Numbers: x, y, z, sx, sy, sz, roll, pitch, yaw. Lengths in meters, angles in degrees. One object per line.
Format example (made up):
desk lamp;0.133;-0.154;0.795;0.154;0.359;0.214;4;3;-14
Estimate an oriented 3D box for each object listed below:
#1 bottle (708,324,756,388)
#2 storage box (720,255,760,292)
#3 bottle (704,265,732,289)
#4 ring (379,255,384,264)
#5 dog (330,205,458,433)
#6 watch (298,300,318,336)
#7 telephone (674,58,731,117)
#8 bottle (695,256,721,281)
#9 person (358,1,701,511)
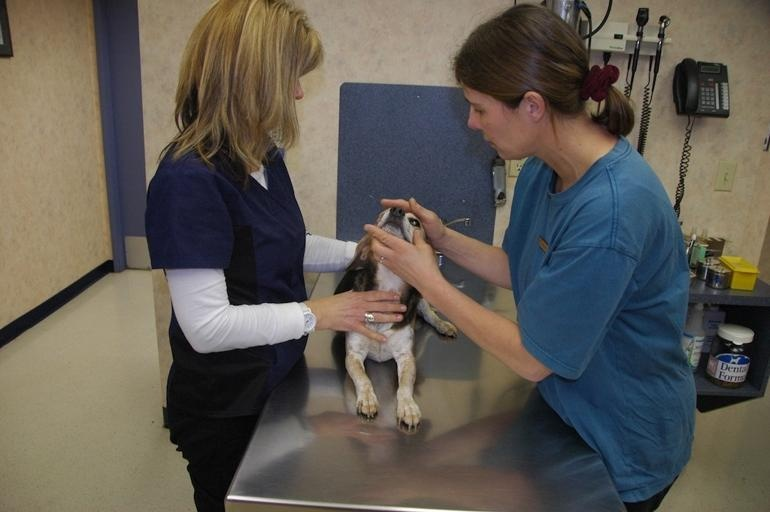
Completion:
bottle;2.188;0.636;3.835;0.239;0.376;0.149;2;12;22
storage box;2.225;0.097;3.787;0.163;0.109;0.255;5;17;15
bottle;2.083;0.134;3.756;0.133;0.142;0.065;4;13;30
ring;-0.010;0.017;2.588;0.010;0.028;0.027;-8;0;-37
dog;0.039;0.150;2.998;0.685;0.846;1.392;-7;12;-4
watch;-0.315;0.263;2.537;0.073;0.116;0.107;-5;-13;-33
telephone;2.043;-1.104;3.968;0.352;0.356;0.228;0;20;22
bottle;2.075;0.069;3.878;0.114;0.129;0.144;-8;19;-10
person;0.695;0.029;2.419;1.002;2.012;0.552;5;13;32
